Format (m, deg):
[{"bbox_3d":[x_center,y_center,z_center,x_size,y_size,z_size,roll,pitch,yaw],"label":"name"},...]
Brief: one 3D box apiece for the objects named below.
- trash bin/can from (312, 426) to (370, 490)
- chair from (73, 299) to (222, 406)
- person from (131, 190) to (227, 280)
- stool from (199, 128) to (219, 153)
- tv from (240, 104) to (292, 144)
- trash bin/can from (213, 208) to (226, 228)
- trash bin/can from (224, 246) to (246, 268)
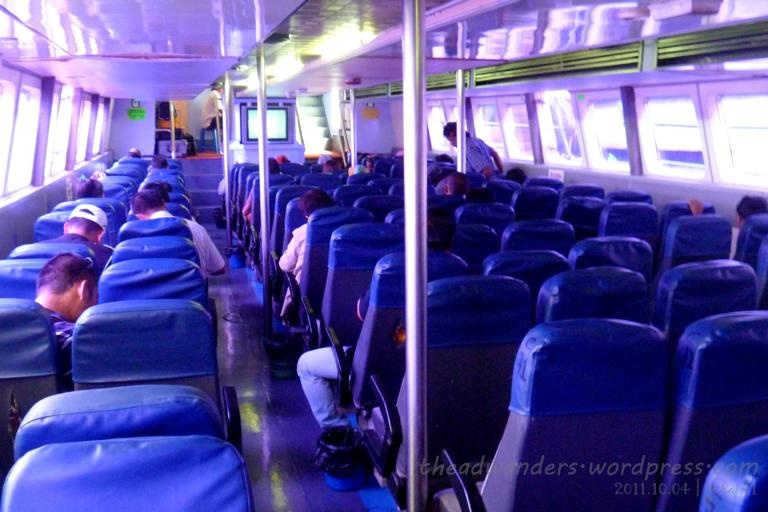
[{"bbox_3d":[-0.236,1.212,3.505,0.326,0.357,0.408,-1,2,-16],"label":"trash bin/can"},{"bbox_3d":[-1.082,0.525,2.472,0.632,0.537,0.322,0,-19,-36],"label":"chair"},{"bbox_3d":[-1.807,-0.160,4.926,0.721,0.757,1.717,-6,16,-24],"label":"person"},{"bbox_3d":[-5.080,-3.314,15.992,0.463,0.646,1.652,-5,15,-19],"label":"stool"},{"bbox_3d":[-2.798,-3.102,13.172,1.114,0.811,0.449,-2,15,-10],"label":"tv"},{"bbox_3d":[-2.955,-0.674,10.026,0.287,0.347,0.361,2,1,-10],"label":"trash bin/can"},{"bbox_3d":[-2.202,0.023,8.325,0.322,0.335,0.314,1,0,-9],"label":"trash bin/can"}]
